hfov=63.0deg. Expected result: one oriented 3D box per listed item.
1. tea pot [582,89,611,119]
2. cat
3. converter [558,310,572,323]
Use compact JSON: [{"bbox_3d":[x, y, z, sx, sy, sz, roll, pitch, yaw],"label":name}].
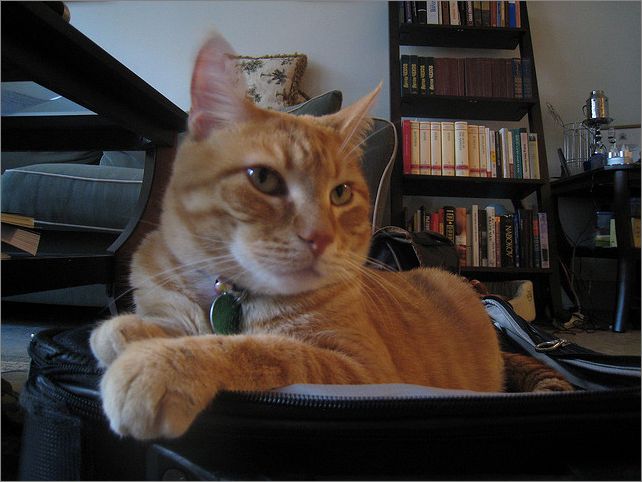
[{"bbox_3d":[1.152,-0.566,2.177,0.067,0.124,0.123,4,14,-3],"label":"tea pot"},{"bbox_3d":[0.037,0.065,1.000,0.467,0.444,0.721,-5,-17,32],"label":"cat"},{"bbox_3d":[0.924,0.276,1.983,0.037,0.019,0.055,1,15,8],"label":"converter"}]
